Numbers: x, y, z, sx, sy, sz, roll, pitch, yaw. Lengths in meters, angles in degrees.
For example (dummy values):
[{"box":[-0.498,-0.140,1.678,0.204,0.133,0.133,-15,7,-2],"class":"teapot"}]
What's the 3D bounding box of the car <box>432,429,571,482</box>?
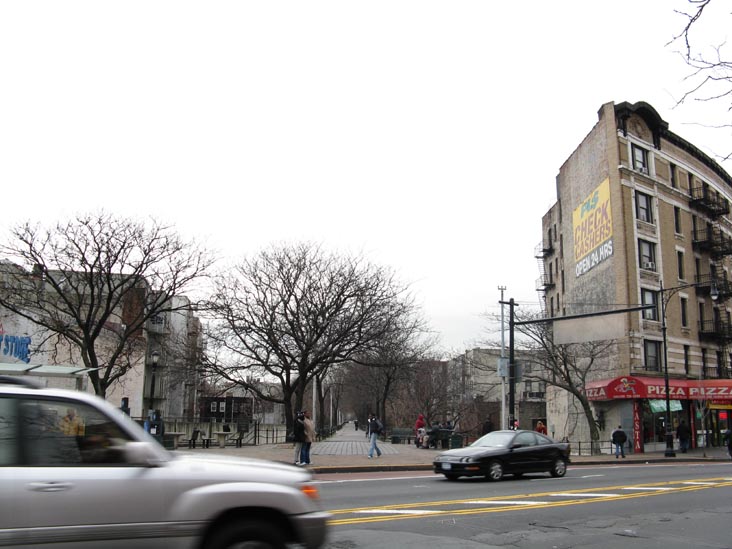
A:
[{"box":[3.995,5.214,23.441,4.154,1.467,1.035,8,-18,-33],"class":"car"}]
